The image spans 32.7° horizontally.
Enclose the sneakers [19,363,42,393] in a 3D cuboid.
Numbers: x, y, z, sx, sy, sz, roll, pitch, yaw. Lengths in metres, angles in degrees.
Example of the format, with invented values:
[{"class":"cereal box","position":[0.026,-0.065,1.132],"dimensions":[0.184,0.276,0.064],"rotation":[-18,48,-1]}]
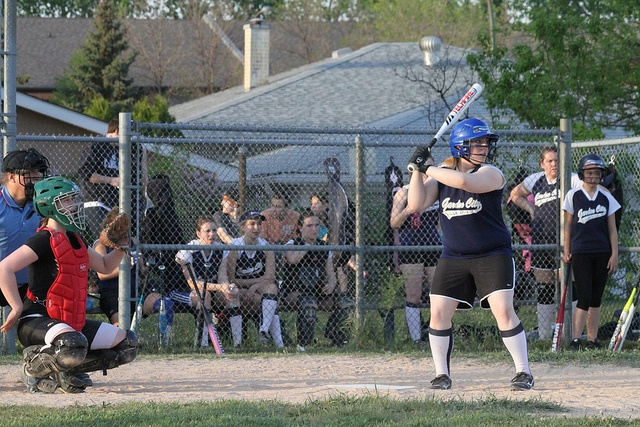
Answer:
[{"class":"sneakers","position":[-3.996,2.311,15.046],"dimensions":[0.178,0.490,0.208],"rotation":[0,-7,-31]}]

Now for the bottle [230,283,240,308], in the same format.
[{"class":"bottle","position":[-1.343,1.313,17.311],"dimensions":[0.163,0.399,0.111],"rotation":[-4,13,-18]}]

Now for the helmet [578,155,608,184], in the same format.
[{"class":"helmet","position":[4.226,-0.728,16.836],"dimensions":[0.395,0.398,0.483],"rotation":[-1,8,-2]}]

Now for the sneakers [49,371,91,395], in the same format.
[{"class":"sneakers","position":[-3.437,2.314,15.039],"dimensions":[0.401,0.180,0.291],"rotation":[9,-3,34]}]

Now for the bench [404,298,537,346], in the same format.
[{"class":"bench","position":[2.536,1.830,17.764],"dimensions":[1.520,0.324,0.965],"rotation":[-1,33,2]}]

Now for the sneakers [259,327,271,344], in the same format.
[{"class":"sneakers","position":[-0.873,1.951,17.396],"dimensions":[0.236,0.341,0.209],"rotation":[0,7,5]}]

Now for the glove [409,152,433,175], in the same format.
[{"class":"glove","position":[1.393,-0.716,15.094],"dimensions":[0.326,0.309,0.377],"rotation":[0,12,2]}]

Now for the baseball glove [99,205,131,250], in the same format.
[{"class":"baseball glove","position":[-2.815,0.232,15.005],"dimensions":[0.461,0.625,0.209],"rotation":[22,33,-19]}]

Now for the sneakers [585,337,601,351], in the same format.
[{"class":"sneakers","position":[4.267,2.041,16.977],"dimensions":[0.104,0.130,0.309],"rotation":[1,4,29]}]
